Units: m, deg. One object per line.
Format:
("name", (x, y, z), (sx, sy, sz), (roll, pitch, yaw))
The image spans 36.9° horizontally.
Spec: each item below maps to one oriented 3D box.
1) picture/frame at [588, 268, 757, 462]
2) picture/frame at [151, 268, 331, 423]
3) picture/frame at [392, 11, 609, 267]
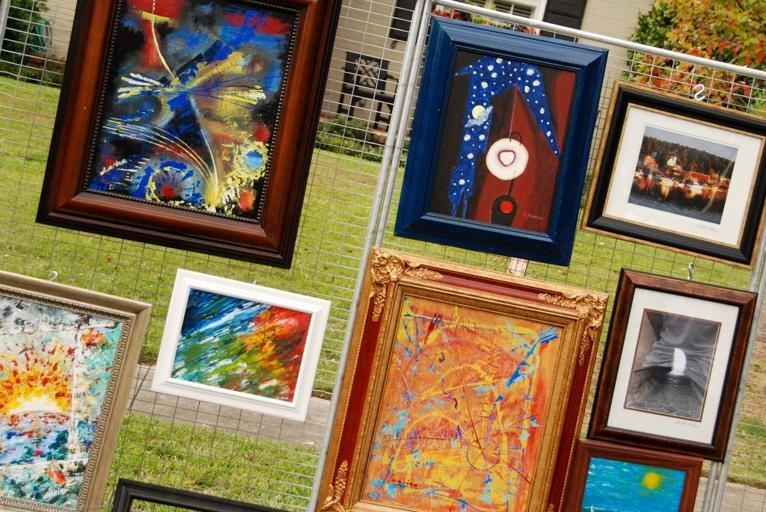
("picture/frame", (1.505, 0.588, 6.045), (0.894, 1.193, 0.097), (8, -1, -9))
("picture/frame", (-0.759, 0.489, 6.130), (0.761, 0.683, 0.057), (13, 2, 1))
("picture/frame", (0.604, -0.595, 5.975), (1.099, 1.497, 0.152), (11, 5, 1))
